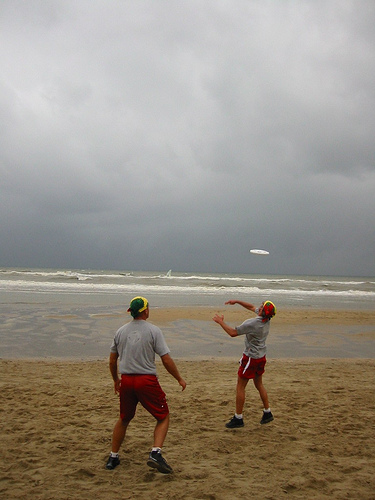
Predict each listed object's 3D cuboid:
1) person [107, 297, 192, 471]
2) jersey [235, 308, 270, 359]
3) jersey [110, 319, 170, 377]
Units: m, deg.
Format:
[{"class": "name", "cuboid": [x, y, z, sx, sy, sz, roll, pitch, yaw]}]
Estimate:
[{"class": "person", "cuboid": [-0.413, 1.305, 4.811, 0.789, 1.687, 0.375, 0, -3, 11]}, {"class": "jersey", "cuboid": [0.757, 1.017, 5.858, 0.424, 0.489, 0.227, 1, -3, -10]}, {"class": "jersey", "cuboid": [-0.437, 0.933, 4.831, 0.668, 0.504, 0.309, -3, -6, 27]}]
